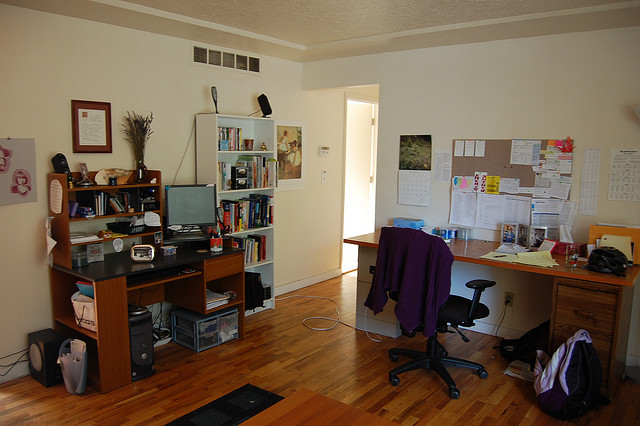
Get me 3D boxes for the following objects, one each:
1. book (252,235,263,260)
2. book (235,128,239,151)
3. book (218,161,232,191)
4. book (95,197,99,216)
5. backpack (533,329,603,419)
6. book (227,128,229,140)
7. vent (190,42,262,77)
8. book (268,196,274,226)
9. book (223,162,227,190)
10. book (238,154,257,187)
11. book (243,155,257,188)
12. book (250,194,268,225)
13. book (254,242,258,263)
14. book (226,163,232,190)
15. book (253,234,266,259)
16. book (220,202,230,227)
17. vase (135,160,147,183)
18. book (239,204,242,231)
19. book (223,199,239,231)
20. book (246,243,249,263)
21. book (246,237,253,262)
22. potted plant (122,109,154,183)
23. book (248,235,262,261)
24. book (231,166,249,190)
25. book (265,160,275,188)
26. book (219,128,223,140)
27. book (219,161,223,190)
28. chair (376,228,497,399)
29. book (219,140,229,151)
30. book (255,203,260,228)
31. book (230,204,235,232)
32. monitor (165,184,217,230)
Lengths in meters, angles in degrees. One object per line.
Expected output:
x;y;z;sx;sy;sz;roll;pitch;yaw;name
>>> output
-0.767;0.421;5.369;0.041;0.295;0.268;-5;11;-28;book
-0.969;-0.865;5.105;0.027;0.256;0.073;1;8;11;book
-1.090;-0.423;4.988;0.214;0.317;0.345;1;3;2;book
-2.119;-0.068;4.165;0.022;0.156;0.031;7;11;43;book
2.131;1.357;3.751;0.516;0.697;0.416;4;9;31;backpack
-1.053;-0.916;5.024;0.012;0.123;0.031;3;9;25;book
-1.094;-1.830;5.201;0.948;0.274;0.095;-6;10;-43;vent
-0.607;-0.029;5.401;0.054;0.364;0.062;1;8;11;book
-1.083;-0.425;4.994;0.023;0.301;0.070;4;9;26;book
-0.863;-0.492;5.201;0.048;0.454;0.364;-5;8;-32;book
-0.829;-0.485;5.223;0.051;0.441;0.348;-4;10;-21;book
-0.749;-0.048;5.335;0.072;0.446;0.353;-2;5;-18;book
-0.780;0.473;5.361;0.018;0.246;0.062;3;9;25;book
-1.041;-0.431;5.053;0.038;0.302;0.104;2;8;17;book
-0.749;0.412;5.384;0.047;0.315;0.284;-2;6;-15;book
-1.085;0.019;5.009;0.157;0.239;0.259;-3;4;-21;book
-1.854;-0.440;4.536;0.117;0.231;0.214;-3;8;-21;vase
-0.932;0.046;5.156;0.013;0.306;0.043;7;11;44;book
-1.030;0.033;5.063;0.104;0.276;0.312;-11;15;-32;book
-0.877;0.489;5.295;0.040;0.224;0.014;-8;11;-43;book
-0.855;0.446;5.298;0.046;0.288;0.261;-5;11;-29;book
-1.834;-0.705;4.534;0.330;0.758;0.244;-6;9;-34;potted plant
-0.797;0.430;5.347;0.047;0.308;0.282;-4;9;-23;book
-0.928;-0.415;5.128;0.277;0.253;0.198;2;4;40;book
-0.616;-0.499;5.374;0.182;0.294;0.321;-1;7;-3;book
-1.117;-0.909;4.964;0.020;0.129;0.050;5;9;33;book
-1.114;-0.423;4.967;0.029;0.300;0.050;5;9;33;book
1.113;0.868;4.239;1.055;1.397;1.044;5;2;26;chair
-1.080;-0.780;4.984;0.046;0.124;0.125;5;9;33;book
-0.761;0.020;5.321;0.016;0.290;0.080;6;10;38;book
-1.014;0.053;5.087;0.026;0.320;0.065;5;9;32;book
-1.404;-0.078;4.707;0.536;0.425;0.046;-3;7;-29;monitor
